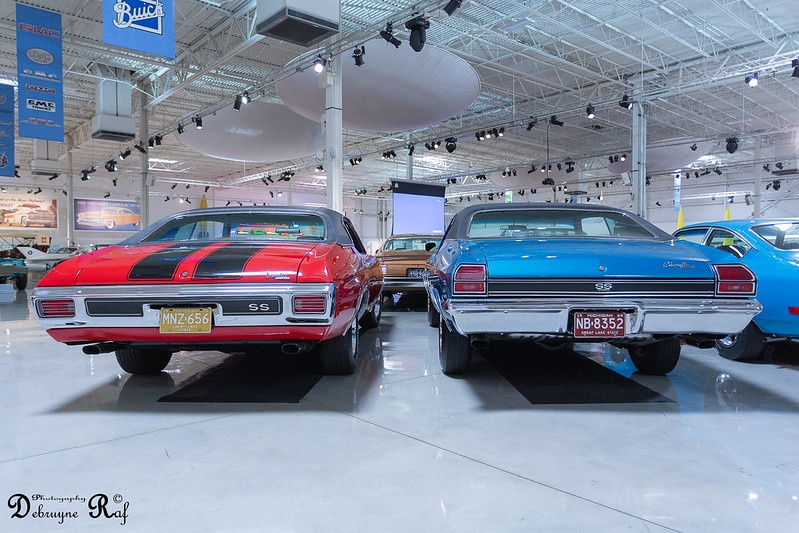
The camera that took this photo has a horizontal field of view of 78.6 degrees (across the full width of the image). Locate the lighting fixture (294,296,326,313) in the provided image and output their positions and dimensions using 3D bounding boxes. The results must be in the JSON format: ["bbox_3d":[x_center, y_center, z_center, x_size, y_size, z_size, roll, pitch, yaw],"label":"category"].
[{"bbox_3d":[-0.624,0.262,3.376,0.168,0.128,0.052,0,7,-4],"label":"lighting fixture"}]

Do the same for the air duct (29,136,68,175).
[{"bbox_3d":[-15.193,-4.733,21.018,1.011,1.392,1.067,-2,9,-9],"label":"air duct"}]

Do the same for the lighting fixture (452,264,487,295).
[{"bbox_3d":[0.498,0.094,3.574,0.216,0.201,0.340,2,0,1],"label":"lighting fixture"}]

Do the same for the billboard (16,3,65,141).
[{"bbox_3d":[-7.976,-4.246,10.827,1.017,2.681,0.906,7,13,37],"label":"billboard"}]

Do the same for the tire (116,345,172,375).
[{"bbox_3d":[-2.215,0.806,4.214,0.208,0.370,0.428,2,-3,1],"label":"tire"}]

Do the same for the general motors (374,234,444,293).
[{"bbox_3d":[0.110,-0.031,7.130,1.274,0.668,2.322,0,3,1],"label":"general motors"}]

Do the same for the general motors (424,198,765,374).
[{"bbox_3d":[1.746,0.627,4.994,2.157,0.995,3.480,-1,-16,11],"label":"general motors"}]

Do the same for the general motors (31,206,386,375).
[{"bbox_3d":[-1.351,0.128,4.434,1.655,0.752,2.562,0,1,1],"label":"general motors"}]

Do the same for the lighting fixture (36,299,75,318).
[{"bbox_3d":[-2.394,0.288,3.363,0.200,0.151,0.045,4,12,-3],"label":"lighting fixture"}]

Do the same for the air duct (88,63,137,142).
[{"bbox_3d":[-9.048,-5.391,15.709,1.136,1.823,0.666,5,38,-21],"label":"air duct"}]

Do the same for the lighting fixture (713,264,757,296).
[{"bbox_3d":[2.374,0.095,3.470,0.191,0.126,0.310,1,3,25],"label":"lighting fixture"}]
